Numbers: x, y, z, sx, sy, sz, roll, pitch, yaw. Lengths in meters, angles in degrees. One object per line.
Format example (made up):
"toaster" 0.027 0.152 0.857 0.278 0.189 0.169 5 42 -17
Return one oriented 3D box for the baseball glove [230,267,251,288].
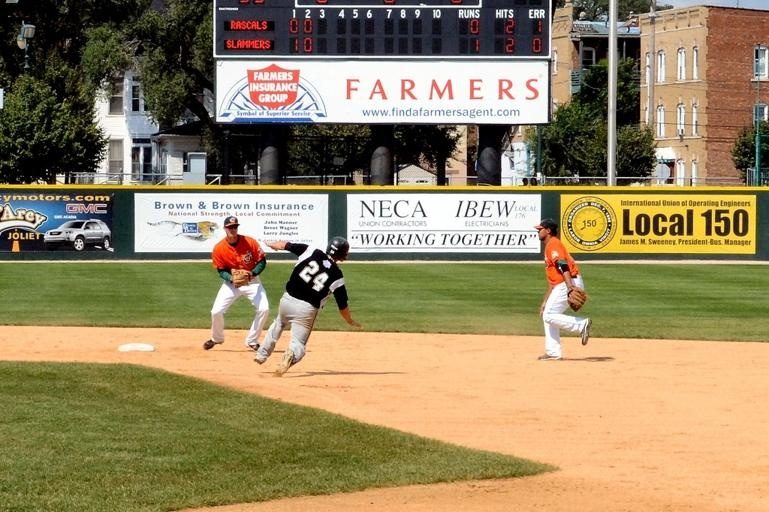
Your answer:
"baseball glove" -4.330 0.682 50.165 0.600 0.546 0.297 -2 1 -8
